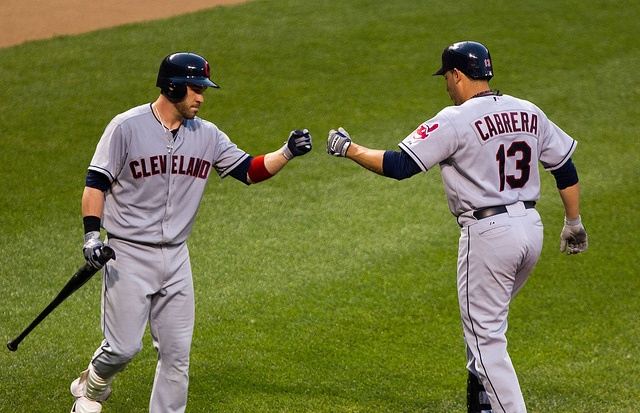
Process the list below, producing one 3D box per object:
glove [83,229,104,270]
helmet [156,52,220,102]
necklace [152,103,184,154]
[{"bbox_3d":[-2.229,0.438,9.432,0.203,0.346,0.286,-11,22,-12],"label":"glove"},{"bbox_3d":[-1.373,-1.281,9.524,0.678,0.393,0.474,1,5,12],"label":"helmet"},{"bbox_3d":[-1.540,-0.751,9.534,0.126,0.417,0.275,-8,8,39],"label":"necklace"}]
